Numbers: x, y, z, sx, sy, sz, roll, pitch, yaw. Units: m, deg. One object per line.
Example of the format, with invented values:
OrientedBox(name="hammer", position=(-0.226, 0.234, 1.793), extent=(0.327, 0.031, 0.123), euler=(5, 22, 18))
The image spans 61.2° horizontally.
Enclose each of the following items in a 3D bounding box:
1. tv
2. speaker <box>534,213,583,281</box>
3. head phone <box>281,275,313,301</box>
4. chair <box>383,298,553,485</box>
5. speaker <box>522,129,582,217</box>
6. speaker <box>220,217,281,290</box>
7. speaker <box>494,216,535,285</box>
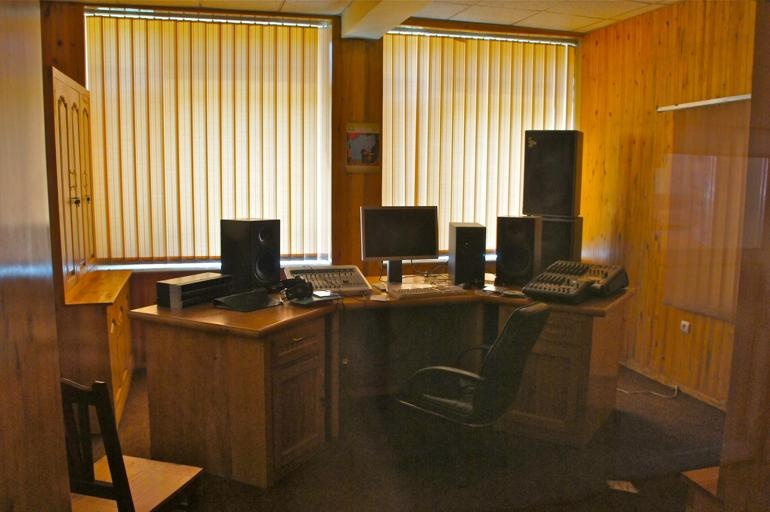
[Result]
OrientedBox(name="tv", position=(0.074, -0.082, 4.430), extent=(0.546, 0.531, 0.171), euler=(-2, 3, -21))
OrientedBox(name="speaker", position=(1.233, -0.095, 4.582), extent=(0.274, 0.360, 0.307), euler=(4, 13, 15))
OrientedBox(name="head phone", position=(-0.537, 0.183, 3.939), extent=(0.187, 0.103, 0.280), euler=(-2, 12, -9))
OrientedBox(name="chair", position=(0.526, 0.697, 3.949), extent=(1.023, 1.085, 0.810), euler=(4, 3, 31))
OrientedBox(name="speaker", position=(1.202, -0.577, 4.879), extent=(0.425, 0.655, 0.389), euler=(0, -11, 19))
OrientedBox(name="speaker", position=(-0.877, -0.032, 4.101), extent=(0.342, 0.440, 0.310), euler=(10, 15, 39))
OrientedBox(name="speaker", position=(0.881, -0.024, 4.369), extent=(0.261, 0.511, 0.185), euler=(-3, -21, 19))
